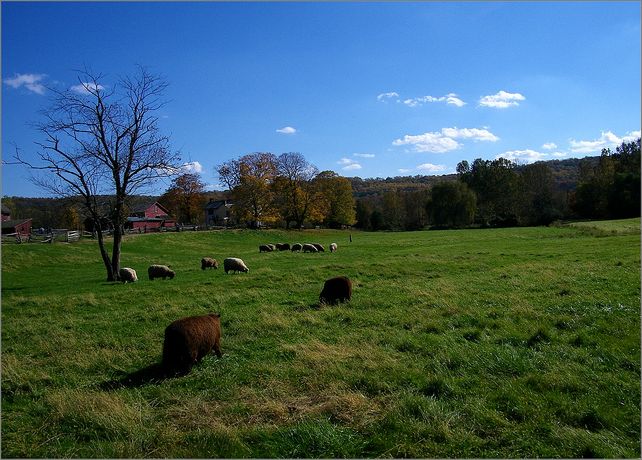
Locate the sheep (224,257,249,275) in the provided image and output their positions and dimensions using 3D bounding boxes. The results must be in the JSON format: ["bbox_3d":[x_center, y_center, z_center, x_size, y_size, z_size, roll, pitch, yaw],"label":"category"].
[{"bbox_3d":[-6.007,2.369,32.782,1.912,1.285,0.819,3,22,-21],"label":"sheep"}]

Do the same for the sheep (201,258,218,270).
[{"bbox_3d":[-8.246,2.476,35.057,1.160,0.738,0.934,-4,5,-15],"label":"sheep"}]

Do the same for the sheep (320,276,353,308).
[{"bbox_3d":[0.672,2.776,22.088,1.433,1.076,0.860,-3,5,-7],"label":"sheep"}]

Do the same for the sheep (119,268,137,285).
[{"bbox_3d":[-12.212,2.845,30.087,1.069,0.818,1.307,-5,5,-24],"label":"sheep"}]
